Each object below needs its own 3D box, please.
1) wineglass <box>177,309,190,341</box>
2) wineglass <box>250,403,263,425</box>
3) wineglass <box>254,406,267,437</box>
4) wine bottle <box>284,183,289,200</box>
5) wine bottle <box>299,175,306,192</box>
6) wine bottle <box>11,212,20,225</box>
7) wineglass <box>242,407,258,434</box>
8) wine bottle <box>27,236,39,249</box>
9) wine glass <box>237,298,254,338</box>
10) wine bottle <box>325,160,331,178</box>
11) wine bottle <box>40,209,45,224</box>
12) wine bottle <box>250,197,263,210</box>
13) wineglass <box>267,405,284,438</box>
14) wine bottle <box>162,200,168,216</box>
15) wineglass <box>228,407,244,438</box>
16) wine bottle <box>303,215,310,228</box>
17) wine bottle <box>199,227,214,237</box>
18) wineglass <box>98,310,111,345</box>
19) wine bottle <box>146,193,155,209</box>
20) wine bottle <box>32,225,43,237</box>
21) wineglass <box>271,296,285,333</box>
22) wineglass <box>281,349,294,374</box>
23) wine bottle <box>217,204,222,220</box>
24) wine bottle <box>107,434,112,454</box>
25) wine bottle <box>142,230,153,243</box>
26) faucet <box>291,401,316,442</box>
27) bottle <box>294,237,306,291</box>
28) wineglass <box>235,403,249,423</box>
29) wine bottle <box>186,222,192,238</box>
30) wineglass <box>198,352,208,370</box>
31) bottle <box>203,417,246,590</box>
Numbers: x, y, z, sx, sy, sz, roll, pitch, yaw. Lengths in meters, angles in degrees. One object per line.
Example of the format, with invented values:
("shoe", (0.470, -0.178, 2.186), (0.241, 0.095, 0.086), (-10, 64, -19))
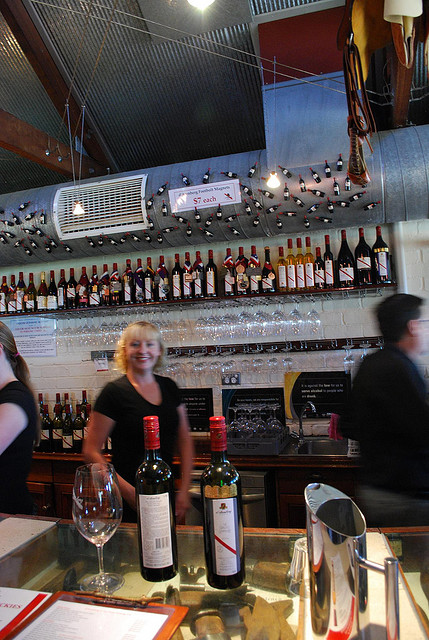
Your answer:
("wineglass", (-0.236, 0.079, 3.502), (0.092, 0.139, 0.108), (-1, -10, -4))
("wineglass", (0.288, 0.628, 3.181), (0.088, 0.101, 0.085), (1, -8, -3))
("wineglass", (0.294, 0.685, 2.975), (0.102, 0.245, 0.103), (-3, -10, -1))
("wine bottle", (0.428, -0.758, 2.740), (0.028, 0.083, 0.038), (-3, -10, 7))
("wine bottle", (0.515, -0.796, 2.704), (0.027, 0.093, 0.039), (-9, -12, 34))
("wine bottle", (-1.483, -0.748, 3.441), (0.050, 0.072, 0.052), (-2, -10, 0))
("wineglass", (0.224, 0.658, 2.986), (0.096, 0.152, 0.103), (2, -7, -12))
("wine bottle", (-1.370, -0.581, 3.474), (0.076, 0.076, 0.073), (8, -14, -43))
("wine glass", (0.223, -0.005, 3.423), (0.124, 0.328, 0.125), (-6, -19, 23))
("wine bottle", (0.652, -0.869, 2.656), (0.027, 0.098, 0.043), (-6, -11, 21))
("wine bottle", (-1.252, -0.746, 3.351), (0.032, 0.097, 0.057), (2, -11, -22))
("wine bottle", (0.258, -0.710, 2.812), (0.070, 0.076, 0.029), (-1, -10, -6))
("wineglass", (0.389, 0.676, 2.985), (0.131, 0.268, 0.120), (0, -6, 5))
("wine bottle", (-0.325, -0.727, 3.023), (0.031, 0.080, 0.051), (-2, -10, -2))
("wineglass", (0.146, 0.684, 3.094), (0.102, 0.231, 0.103), (-4, -7, 19))
("wine bottle", (0.563, -0.601, 2.827), (0.036, 0.049, 0.087), (-4, -10, 12))
("wine bottle", (-0.051, -0.576, 3.021), (0.091, 0.055, 0.035), (2, -11, -23))
("wineglass", (-0.866, 0.061, 3.635), (0.099, 0.235, 0.345), (1, -11, -14))
("wine bottle", (-0.428, -0.778, 3.051), (0.022, 0.084, 0.069), (8, -14, -44))
("wine bottle", (-1.304, -0.658, 3.394), (0.072, 0.077, 0.029), (2, -11, -20))
("wineglass", (0.450, 0.007, 3.275), (0.097, 0.151, 0.124), (-3, -10, 7))
("wineglass", (0.520, 0.322, 3.249), (0.072, 0.108, 0.085), (-3, -10, 8))
("wine bottle", (0.029, -0.671, 2.926), (0.031, 0.065, 0.055), (-2, -10, 2))
("wine bottle", (-0.743, 0.876, 3.254), (0.021, 0.103, 0.282), (1, -11, -16))
("wine bottle", (-0.461, -0.574, 3.182), (0.049, 0.057, 0.090), (-6, -11, 19))
("faucet", (0.572, 0.676, 3.112), (0.178, 0.254, 0.213), (-7, -12, 28))
("bottle", (0.584, -0.373, 3.163), (0.067, 0.411, 0.308), (-4, -10, 10))
("wineglass", (0.194, 0.636, 3.214), (0.078, 0.100, 0.079), (-1, -2, -1))
("wine bottle", (-0.169, -0.595, 3.062), (0.037, 0.070, 0.077), (-1, -10, -3))
("wineglass", (-0.079, 0.300, 3.399), (0.052, 0.119, 0.070), (0, -10, -8))
("bottle", (0.014, 0.310, 0.802), (0.101, 0.293, 0.102), (-4, 5, 0))
